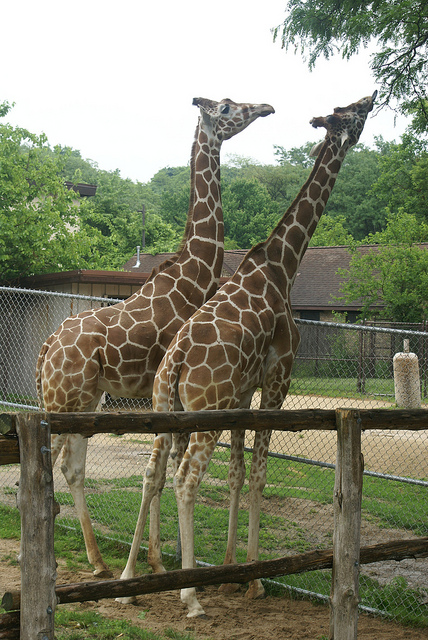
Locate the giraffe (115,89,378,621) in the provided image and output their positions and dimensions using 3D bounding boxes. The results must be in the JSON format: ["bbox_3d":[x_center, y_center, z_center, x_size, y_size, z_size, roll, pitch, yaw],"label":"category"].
[{"bbox_3d":[0.202,0.127,4.989,0.924,3.556,2.019,6,6,24],"label":"giraffe"}]
